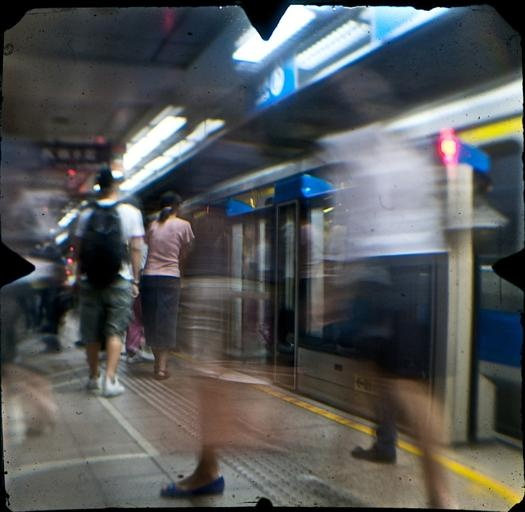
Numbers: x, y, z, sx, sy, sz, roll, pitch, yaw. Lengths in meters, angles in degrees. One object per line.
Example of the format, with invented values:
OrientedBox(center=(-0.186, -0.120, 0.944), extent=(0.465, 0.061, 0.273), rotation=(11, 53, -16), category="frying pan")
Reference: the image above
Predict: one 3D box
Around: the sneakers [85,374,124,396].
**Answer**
OrientedBox(center=(-1.186, 0.935, 3.510), extent=(0.326, 0.136, 0.119), rotation=(7, -8, 10), category="sneakers")

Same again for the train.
OrientedBox(center=(0.189, 0.093, 3.405), extent=(1.108, 1.374, 2.797), rotation=(8, -7, -29), category="train")

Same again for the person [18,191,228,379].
OrientedBox(center=(-0.755, 0.227, 3.071), extent=(1.004, 1.272, 0.451), rotation=(2, 2, 24), category="person")

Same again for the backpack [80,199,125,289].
OrientedBox(center=(-0.994, -0.054, 3.038), extent=(0.292, 0.456, 0.474), rotation=(2, 15, -11), category="backpack")
